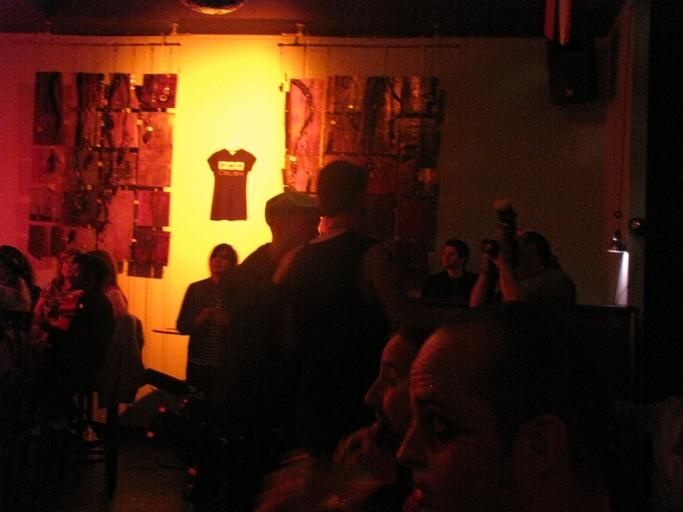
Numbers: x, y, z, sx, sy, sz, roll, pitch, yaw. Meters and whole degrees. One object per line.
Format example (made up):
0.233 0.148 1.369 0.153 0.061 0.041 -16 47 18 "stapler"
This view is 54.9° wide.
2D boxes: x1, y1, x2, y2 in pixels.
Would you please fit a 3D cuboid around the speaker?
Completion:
1.574 -1.246 4.465 0.358 0.363 0.235 2 1 11 "speaker"

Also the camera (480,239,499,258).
0.472 -0.021 2.071 0.039 0.045 0.054 7 18 -43 "camera"

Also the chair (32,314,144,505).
-1.424 0.855 3.873 0.487 0.874 0.466 1 -15 -46 "chair"
